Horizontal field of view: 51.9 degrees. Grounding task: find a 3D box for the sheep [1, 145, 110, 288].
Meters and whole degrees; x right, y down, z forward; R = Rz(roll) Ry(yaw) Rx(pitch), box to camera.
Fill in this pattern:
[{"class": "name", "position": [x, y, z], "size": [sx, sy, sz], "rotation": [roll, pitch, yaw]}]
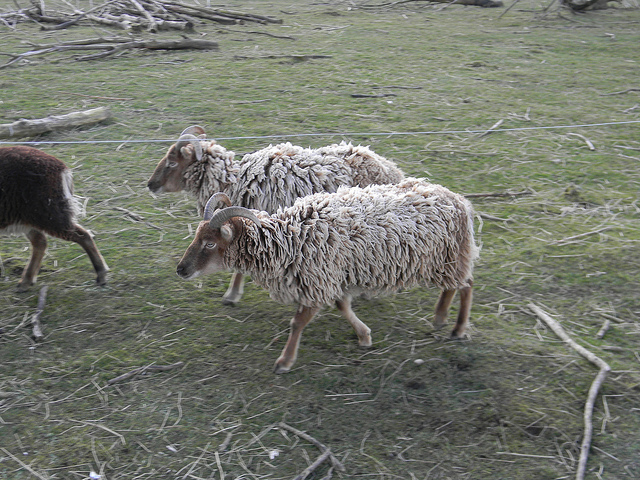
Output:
[{"class": "sheep", "position": [-2.653, -0.194, 6.395], "size": [0.888, 1.399, 0.923], "rotation": [-8, 37, -14]}]
